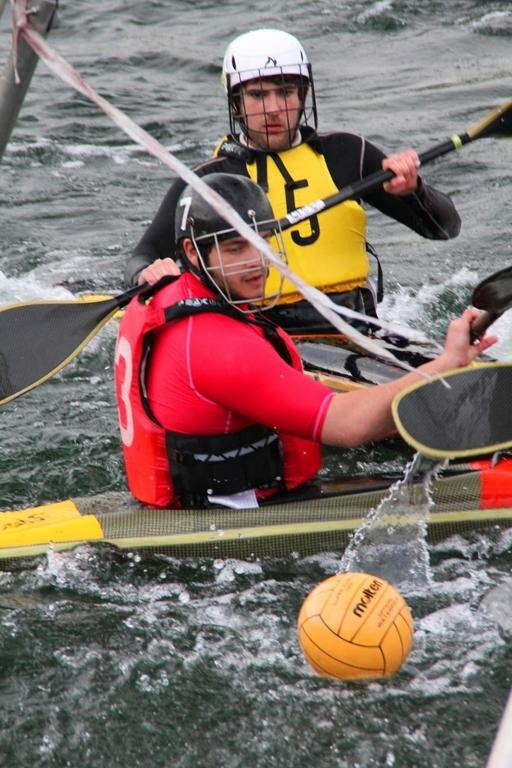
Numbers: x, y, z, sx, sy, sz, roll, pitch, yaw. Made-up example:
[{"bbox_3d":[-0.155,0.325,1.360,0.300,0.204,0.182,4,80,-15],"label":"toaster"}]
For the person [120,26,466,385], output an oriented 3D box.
[{"bbox_3d":[0.230,-0.767,3.609,1.129,1.487,1.194,5,22,9],"label":"person"}]
